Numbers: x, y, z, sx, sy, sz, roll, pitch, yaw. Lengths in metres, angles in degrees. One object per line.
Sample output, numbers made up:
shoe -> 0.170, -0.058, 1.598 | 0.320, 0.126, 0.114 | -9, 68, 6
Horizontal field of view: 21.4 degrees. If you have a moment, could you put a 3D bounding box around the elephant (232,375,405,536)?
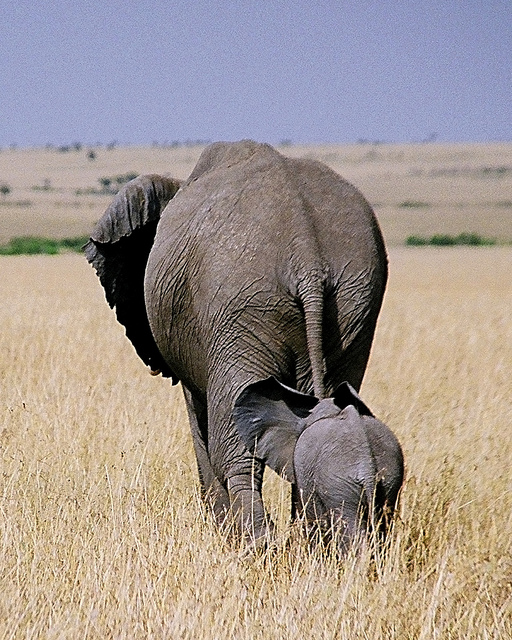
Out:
elephant -> 0.322, 0.609, 5.460 | 0.580, 0.669, 0.977 | -7, 8, -14

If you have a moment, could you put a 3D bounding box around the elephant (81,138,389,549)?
elephant -> -0.110, 0.083, 6.363 | 1.082, 1.888, 2.093 | 0, 2, -20
